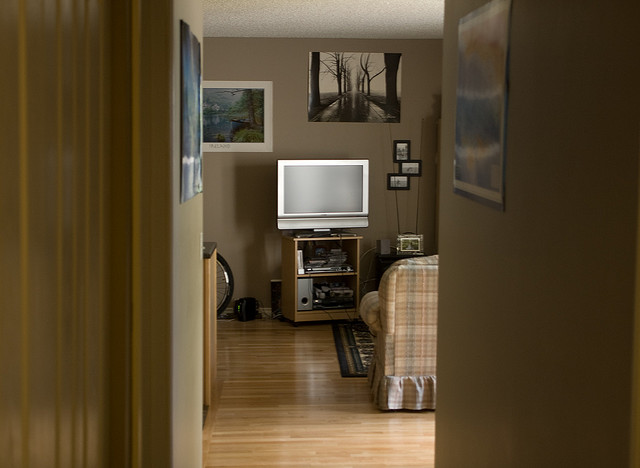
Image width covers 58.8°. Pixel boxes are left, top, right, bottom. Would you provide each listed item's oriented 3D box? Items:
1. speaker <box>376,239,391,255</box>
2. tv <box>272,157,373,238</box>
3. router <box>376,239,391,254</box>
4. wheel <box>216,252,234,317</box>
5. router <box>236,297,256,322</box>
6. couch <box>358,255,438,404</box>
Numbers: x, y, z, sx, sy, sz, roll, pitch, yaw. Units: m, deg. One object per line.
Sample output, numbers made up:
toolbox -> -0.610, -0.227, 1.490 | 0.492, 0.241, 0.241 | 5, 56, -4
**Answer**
speaker -> 0.666, 0.125, 5.916 | 0.129, 0.154, 0.148 | -1, 2, 1
tv -> 0.014, -0.383, 5.782 | 0.726, 0.666, 0.292 | 0, -4, -5
router -> 0.671, 0.118, 5.935 | 0.116, 0.184, 0.177 | -1, 2, -6
wheel -> -0.982, 0.526, 5.972 | 0.164, 0.651, 0.194 | 0, 8, -5
router -> -0.752, 0.773, 5.876 | 0.202, 0.229, 0.116 | -1, 8, -10
couch -> 0.478, 0.736, 4.098 | 0.664, 0.964, 0.712 | 0, 17, 15
